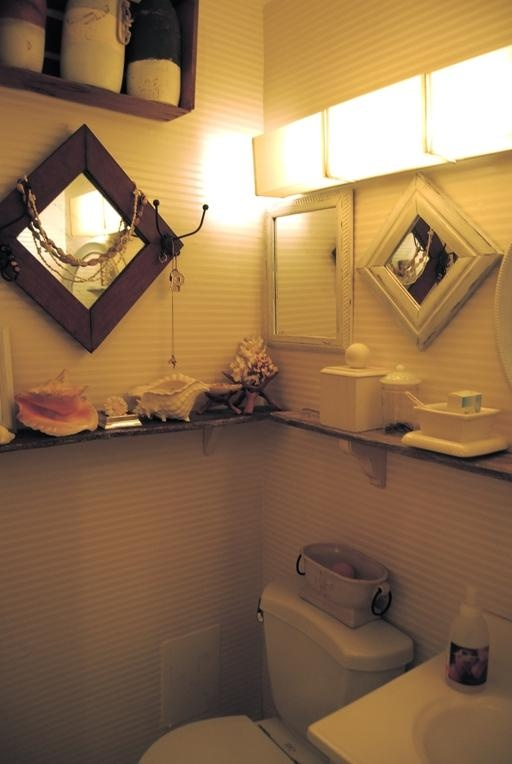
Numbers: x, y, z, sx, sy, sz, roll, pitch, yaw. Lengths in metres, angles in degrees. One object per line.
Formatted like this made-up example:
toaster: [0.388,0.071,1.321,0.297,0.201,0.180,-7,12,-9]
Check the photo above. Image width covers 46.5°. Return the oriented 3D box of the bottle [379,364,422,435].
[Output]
bottle: [0.325,0.036,1.344,0.089,0.144,0.140,-3,5,15]

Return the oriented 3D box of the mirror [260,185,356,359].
mirror: [0.146,-0.298,1.610,0.033,0.479,0.441,-4,6,-31]

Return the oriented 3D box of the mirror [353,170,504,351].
mirror: [0.373,-0.260,1.266,0.031,0.290,0.303,-1,49,-41]

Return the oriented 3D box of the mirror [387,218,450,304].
mirror: [0.353,-0.262,1.286,0.015,0.156,0.136,-7,48,-30]

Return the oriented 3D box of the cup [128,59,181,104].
cup: [-0.244,-0.716,1.475,0.111,0.086,0.114,3,12,-1]

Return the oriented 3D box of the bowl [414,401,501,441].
bowl: [0.367,0.061,1.121,0.084,0.048,0.103,-4,5,-34]
